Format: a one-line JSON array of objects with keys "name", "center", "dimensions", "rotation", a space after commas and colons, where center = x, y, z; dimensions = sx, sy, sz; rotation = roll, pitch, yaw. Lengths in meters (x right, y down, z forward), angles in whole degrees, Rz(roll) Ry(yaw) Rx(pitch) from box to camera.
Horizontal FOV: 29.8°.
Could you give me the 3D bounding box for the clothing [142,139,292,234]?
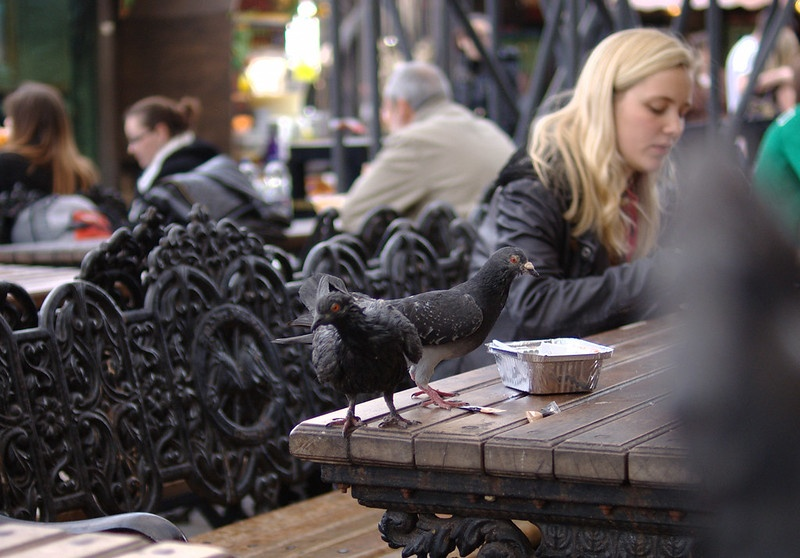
[{"name": "clothing", "center": [-1.257, -0.576, 9.977], "dimensions": [0.720, 0.353, 0.682], "rotation": [-11, 14, 15]}]
